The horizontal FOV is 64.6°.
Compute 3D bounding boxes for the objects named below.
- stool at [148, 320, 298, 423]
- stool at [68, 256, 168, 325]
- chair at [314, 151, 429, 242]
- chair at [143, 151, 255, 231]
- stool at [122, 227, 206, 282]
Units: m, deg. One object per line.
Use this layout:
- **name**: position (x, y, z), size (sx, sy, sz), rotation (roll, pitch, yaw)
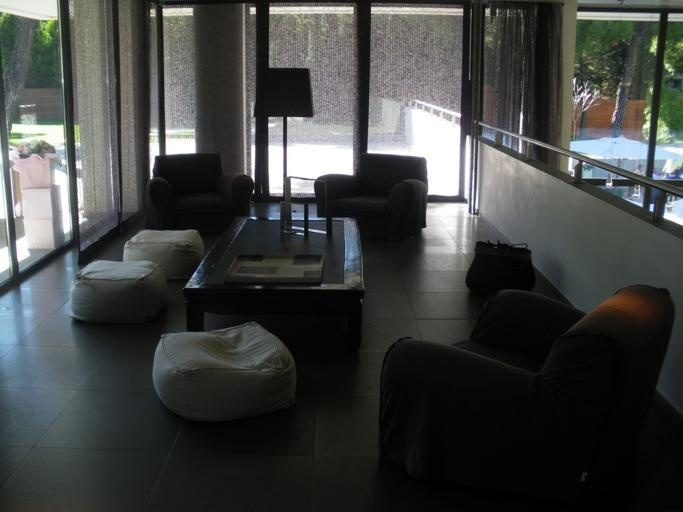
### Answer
- **stool**: position (-0.672, 0.678, 3.135), size (0.566, 0.244, 0.593), rotation (-5, 14, -21)
- **stool**: position (-1.833, 0.264, 4.537), size (0.821, 0.369, 0.768), rotation (-9, 21, -35)
- **chair**: position (0.435, -0.745, 6.835), size (1.385, 1.156, 1.124), rotation (8, 13, 25)
- **chair**: position (-1.869, -0.783, 6.964), size (1.241, 1.025, 1.204), rotation (-5, 15, -19)
- **stool**: position (-1.725, -0.053, 5.220), size (0.546, 0.308, 0.590), rotation (7, 16, 29)
